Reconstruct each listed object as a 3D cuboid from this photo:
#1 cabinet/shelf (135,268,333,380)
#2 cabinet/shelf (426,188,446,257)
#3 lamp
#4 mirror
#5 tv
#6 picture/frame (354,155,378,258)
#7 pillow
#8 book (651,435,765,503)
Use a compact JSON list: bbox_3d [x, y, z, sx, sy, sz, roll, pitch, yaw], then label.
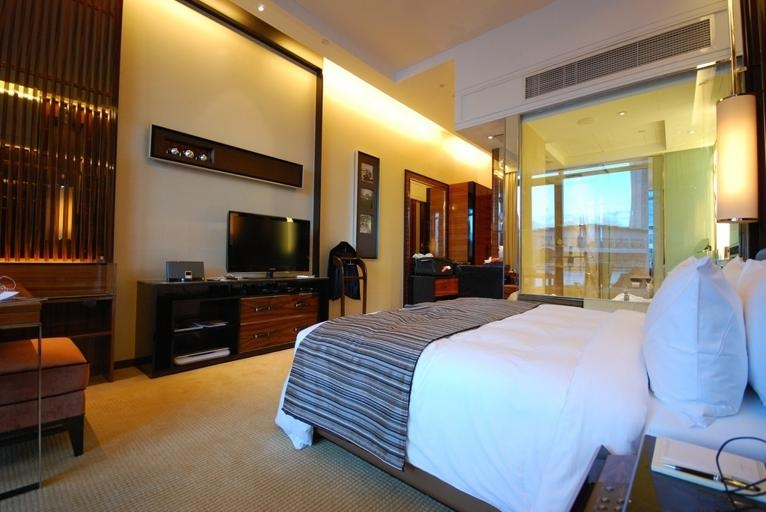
[{"bbox_3d":[-1.571,0.656,5.488,2.117,0.869,0.543,-2,4,-42],"label":"cabinet/shelf"},{"bbox_3d":[0.995,-0.588,8.761,0.311,1.327,0.102,-2,-1,26],"label":"cabinet/shelf"},{"bbox_3d":[2.612,-0.717,3.624,0.233,0.916,0.113,0,1,30],"label":"lamp"},{"bbox_3d":[0.732,-0.648,8.363,0.080,1.850,1.618,-2,-4,41],"label":"mirror"},{"bbox_3d":[-1.314,-0.136,5.713,1.034,0.662,0.101,2,-2,-39],"label":"tv"},{"bbox_3d":[-0.235,-0.712,7.087,0.109,1.445,0.551,2,1,39],"label":"picture/frame"},{"bbox_3d":[1.774,0.470,2.787,0.480,0.917,0.149,0,1,29],"label":"pillow"},{"bbox_3d":[1.678,1.123,2.565,0.512,0.085,0.246,10,35,24],"label":"book"}]
